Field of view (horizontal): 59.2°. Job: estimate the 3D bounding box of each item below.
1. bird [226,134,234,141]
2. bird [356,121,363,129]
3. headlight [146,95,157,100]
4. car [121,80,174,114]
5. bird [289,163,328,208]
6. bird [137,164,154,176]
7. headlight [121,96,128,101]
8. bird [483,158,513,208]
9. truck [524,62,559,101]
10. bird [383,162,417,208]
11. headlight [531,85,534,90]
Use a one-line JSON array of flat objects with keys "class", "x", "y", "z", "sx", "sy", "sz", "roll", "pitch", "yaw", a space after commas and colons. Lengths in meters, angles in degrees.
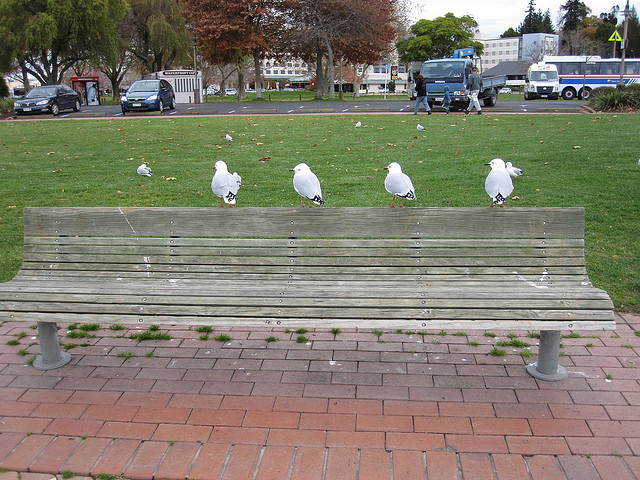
[{"class": "bird", "x": -2.382, "y": -2.694, "z": 14.685, "sx": 0.130, "sy": 0.158, "sz": 0.292, "roll": -7, "pitch": 17, "yaw": -7}, {"class": "bird", "x": 1.214, "y": -3.611, "z": 17.279, "sx": 0.169, "sy": 0.151, "sz": 0.562, "roll": 2, "pitch": 6, "yaw": 6}, {"class": "headlight", "x": -8.262, "y": -7.073, "z": 27.564, "sx": 0.326, "sy": 0.110, "sz": 0.399, "roll": -1, "pitch": 22, "yaw": 4}, {"class": "car", "x": -8.659, "y": -7.370, "z": 28.287, "sx": 1.627, "sy": 0.910, "sz": 2.487, "roll": -1, "pitch": 13, "yaw": 1}, {"class": "bird", "x": -0.114, "y": -0.627, "z": 6.640, "sx": 0.355, "sy": 0.462, "sz": 0.652, "roll": -10, "pitch": 24, "yaw": -36}, {"class": "bird", "x": -3.391, "y": -1.380, "z": 10.871, "sx": 0.155, "sy": 0.181, "sz": 0.290, "roll": -41, "pitch": 25, "yaw": 2}, {"class": "headlight", "x": -9.418, "y": -6.914, "z": 27.120, "sx": 0.236, "sy": 0.212, "sz": 0.270, "roll": -14, "pitch": 20, "yaw": -29}, {"class": "bird", "x": 2.176, "y": -0.710, "z": 6.790, "sx": 0.366, "sy": 0.541, "sz": 0.489, "roll": -7, "pitch": 24, "yaw": 14}, {"class": "truck", "x": 14.396, "y": -10.483, "z": 36.777, "sx": 1.737, "sy": 2.358, "sz": 1.845, "roll": -16, "pitch": 21, "yaw": -30}, {"class": "bird", "x": 0.974, "y": -0.659, "z": 6.697, "sx": 0.370, "sy": 0.499, "sz": 0.655, "roll": -3, "pitch": 14, "yaw": -22}, {"class": "headlight", "x": 13.750, "y": -10.040, "z": 36.470, "sx": 0.171, "sy": 0.282, "sz": 0.080, "roll": 4, "pitch": 21, "yaw": 24}]
